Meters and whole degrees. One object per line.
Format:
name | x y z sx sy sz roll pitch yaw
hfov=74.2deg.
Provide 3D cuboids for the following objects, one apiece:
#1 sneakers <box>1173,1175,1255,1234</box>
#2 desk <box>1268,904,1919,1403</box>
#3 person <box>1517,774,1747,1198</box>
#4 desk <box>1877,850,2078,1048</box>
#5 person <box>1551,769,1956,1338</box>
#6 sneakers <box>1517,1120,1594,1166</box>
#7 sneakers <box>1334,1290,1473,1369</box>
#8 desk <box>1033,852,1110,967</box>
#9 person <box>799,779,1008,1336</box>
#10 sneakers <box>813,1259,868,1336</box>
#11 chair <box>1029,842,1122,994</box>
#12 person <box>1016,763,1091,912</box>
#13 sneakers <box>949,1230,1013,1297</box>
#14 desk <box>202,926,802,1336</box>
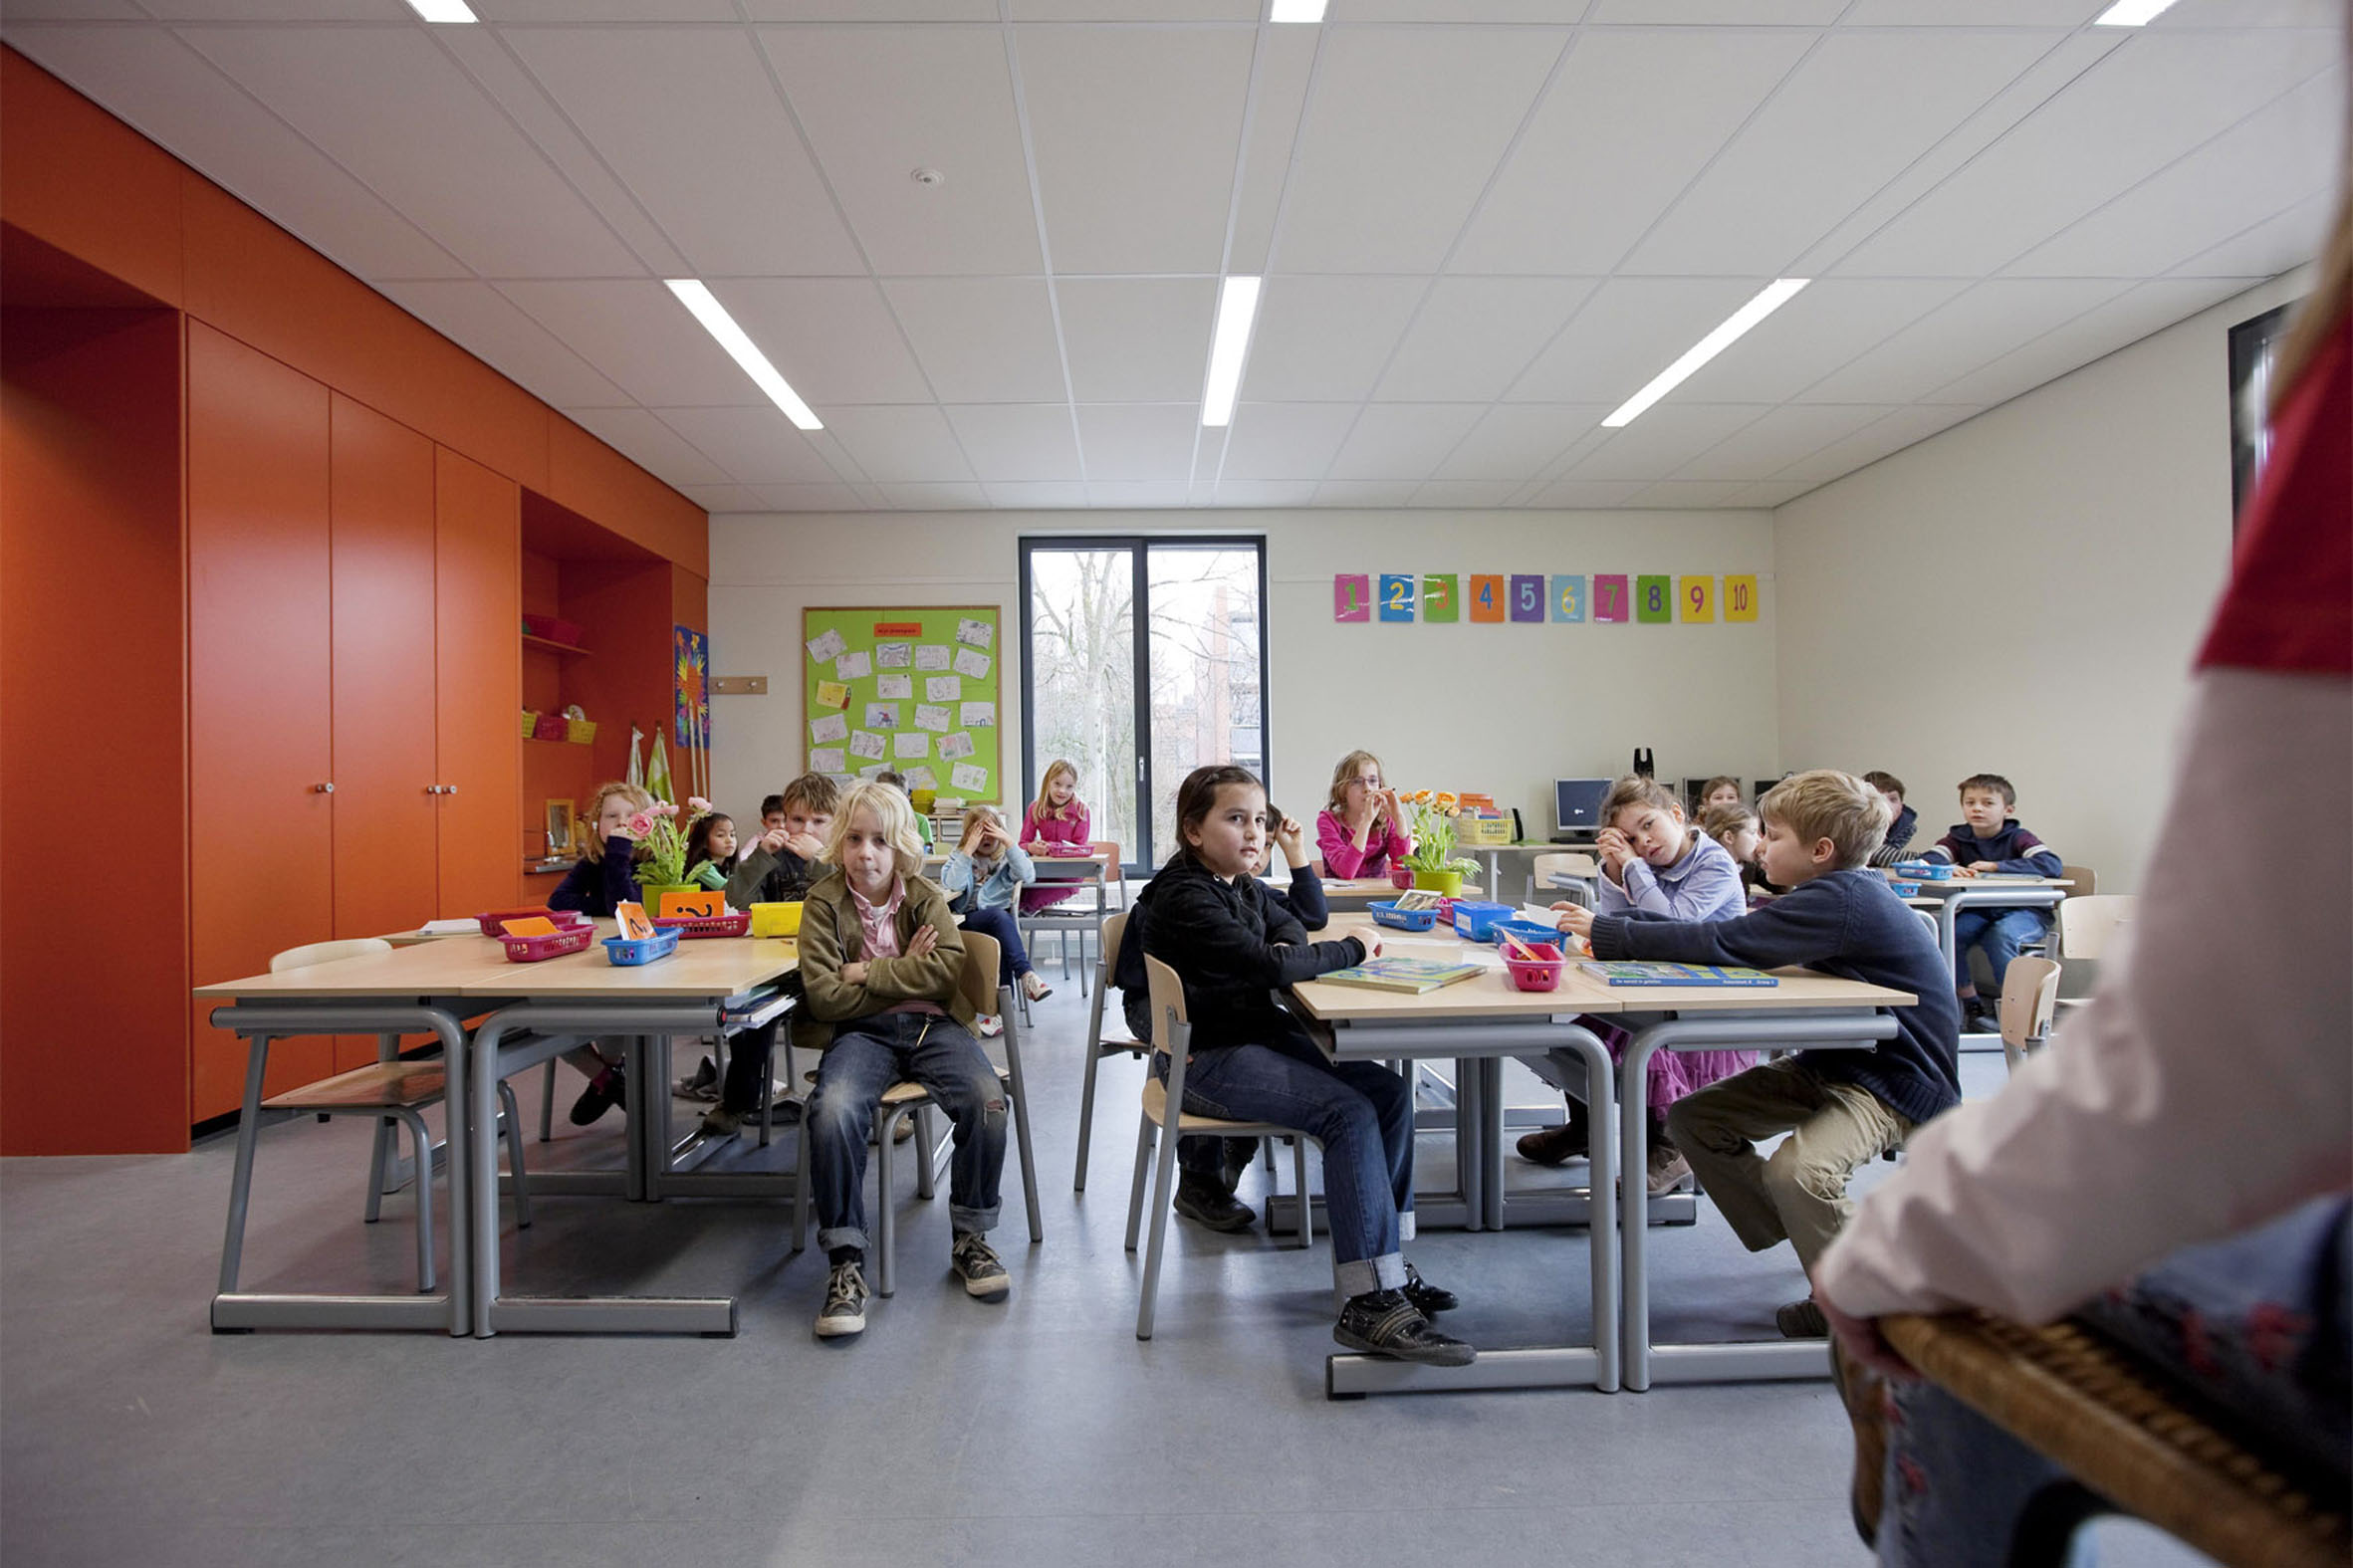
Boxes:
sneakers | 0.109 1.238 4.548 0.253 0.118 0.106 -2 -3 29
desk | 1.027 0.807 4.108 1.043 0.708 1.459 0 -1 -3
person | 1.500 0.588 4.888 0.745 1.174 0.590 4 -9 0
desk | 2.724 0.549 5.245 0.587 0.765 0.806 2 -1 10
person | 1.552 0.704 4.142 1.023 1.412 0.552 -3 -3 19
sneakers | 1.225 1.144 4.988 0.292 0.124 0.107 1 -3 25
sneakers | 0.559 1.315 3.773 0.347 0.154 0.135 -1 -3 12
desk | -0.508 0.603 7.537 0.386 0.476 0.657 0 1 5
person | -0.761 0.707 4.325 0.553 1.417 0.665 0 0 -14
sneakers | -0.875 1.328 4.083 0.139 0.178 0.242 0 0 -9
chair | -0.529 0.634 7.727 0.608 0.608 0.959 0 1 6
person | -0.618 0.263 7.696 0.368 0.730 0.458 10 9 25
sneakers | -0.545 1.294 4.209 0.235 0.159 0.112 0 0 29
desk | -1.887 0.762 4.338 1.075 0.712 1.514 0 1 -3
